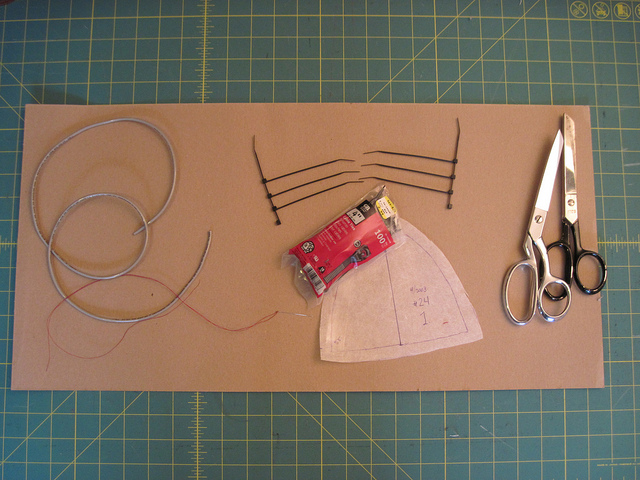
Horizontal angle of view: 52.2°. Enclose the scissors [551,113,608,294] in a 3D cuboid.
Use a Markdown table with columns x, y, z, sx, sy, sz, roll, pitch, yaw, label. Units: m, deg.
| x | y | z | sx | sy | sz | roll | pitch | yaw | label |
| --- | --- | --- | --- | --- | --- | --- | --- | --- | --- |
| 1.441 | -0.207 | 3.637 | 0.328 | 0.086 | 1.000 | -2 | 89 | -9 | scissors |
